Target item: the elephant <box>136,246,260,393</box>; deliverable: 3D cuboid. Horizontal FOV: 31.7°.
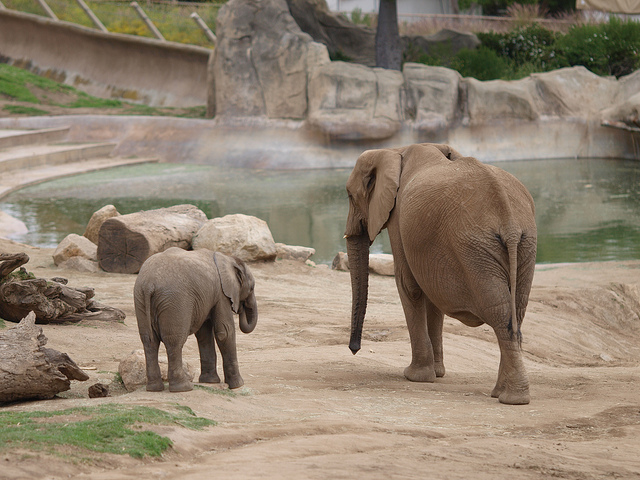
[{"bbox_3d":[-2.136,1.467,20.933,1.462,2.507,3.062,-2,-1,36],"label":"elephant"}]
